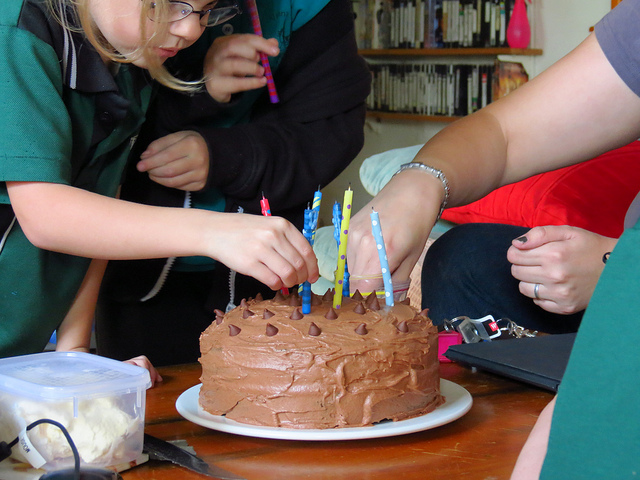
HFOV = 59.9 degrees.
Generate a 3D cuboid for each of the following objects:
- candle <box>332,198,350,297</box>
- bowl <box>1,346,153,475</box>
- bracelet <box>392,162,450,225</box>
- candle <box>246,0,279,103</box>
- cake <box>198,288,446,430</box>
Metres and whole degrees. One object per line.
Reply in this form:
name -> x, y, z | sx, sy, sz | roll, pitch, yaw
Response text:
candle -> 0.040, 0.009, 1.048 | 0.018, 0.196, 0.027 | -1, -8, -36
bowl -> -0.327, 0.209, 0.740 | 0.176, 0.089, 0.134 | 3, 2, 45
bracelet -> 0.216, -0.110, 1.221 | 0.134, 0.113, 0.069 | 18, 24, 38
candle -> -0.159, -0.511, 1.522 | 0.087, 0.272, 0.150 | 2, 18, 0
cake -> -0.001, 0.206, 1.053 | 0.406, 0.219, 0.426 | -3, 0, 36
